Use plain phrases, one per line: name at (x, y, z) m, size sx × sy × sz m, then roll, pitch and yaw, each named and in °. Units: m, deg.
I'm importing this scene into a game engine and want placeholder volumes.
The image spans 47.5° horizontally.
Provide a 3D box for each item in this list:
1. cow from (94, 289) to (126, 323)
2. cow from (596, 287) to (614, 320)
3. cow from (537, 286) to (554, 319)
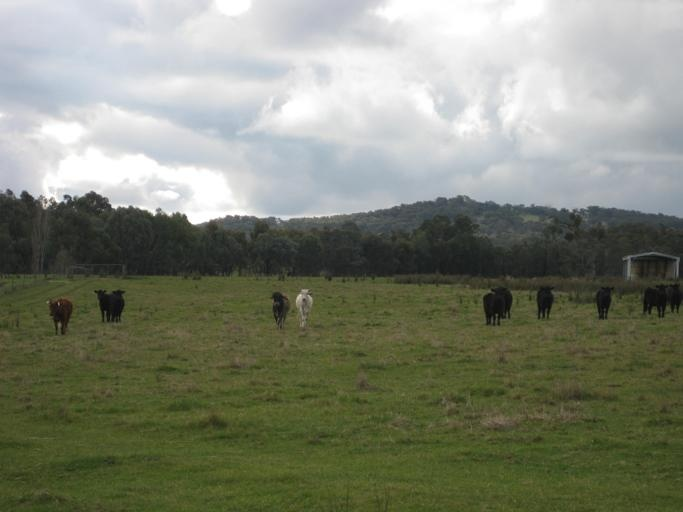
cow at (-13.648, 2.952, 46.039) m, size 1.373 × 1.887 × 2.474 m, roll 3°, pitch -3°, yaw -19°
cow at (15.070, 2.782, 44.732) m, size 0.698 × 1.824 × 1.530 m, roll 1°, pitch -2°, yaw 14°
cow at (12.211, 2.865, 46.754) m, size 0.841 × 1.971 × 2.653 m, roll 1°, pitch -3°, yaw 14°
